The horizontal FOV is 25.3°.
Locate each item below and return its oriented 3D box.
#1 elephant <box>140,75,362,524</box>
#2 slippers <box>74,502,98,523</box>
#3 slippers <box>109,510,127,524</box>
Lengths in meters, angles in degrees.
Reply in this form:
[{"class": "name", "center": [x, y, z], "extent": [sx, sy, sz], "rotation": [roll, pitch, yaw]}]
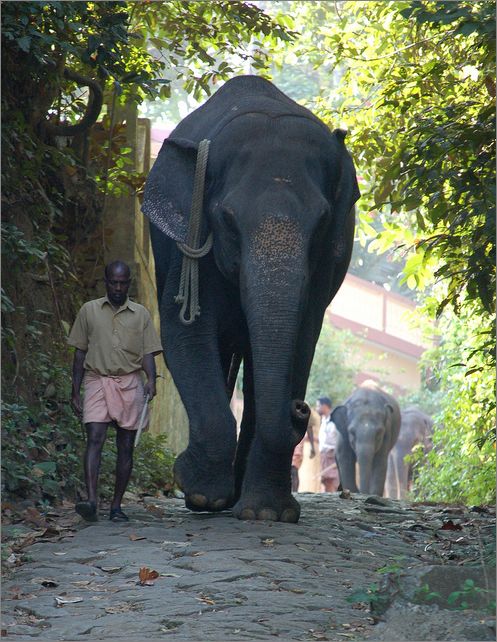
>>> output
[{"class": "elephant", "center": [0.027, -0.181, 5.966], "extent": [0.902, 1.832, 1.350], "rotation": [3, 1, -26]}, {"class": "slippers", "center": [-0.793, 0.933, 5.391], "extent": [0.075, 0.133, 0.054], "rotation": [3, 51, 12]}, {"class": "slippers", "center": [-0.661, 0.989, 5.573], "extent": [0.069, 0.038, 0.123], "rotation": [3, -9, -16]}]
